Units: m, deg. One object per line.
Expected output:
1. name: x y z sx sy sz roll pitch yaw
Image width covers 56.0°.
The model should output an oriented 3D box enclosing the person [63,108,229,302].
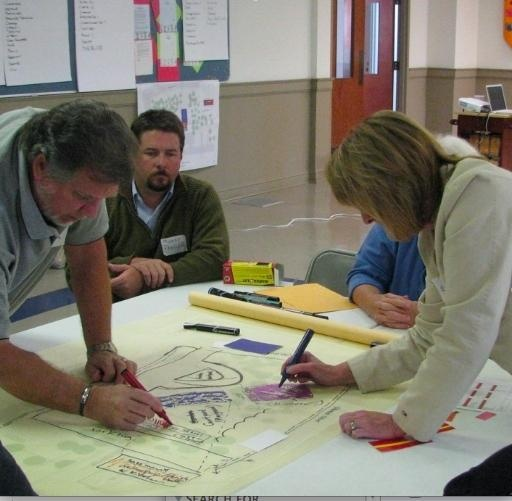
1. person: -0.439 -0.064 2.147 0.636 1.028 0.523 1 7 -4

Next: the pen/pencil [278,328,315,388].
1. pen/pencil: 0.104 0.284 1.251 0.020 0.140 0.022 41 -15 -36

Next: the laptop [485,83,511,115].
1. laptop: 3.304 -2.068 6.572 0.387 0.365 0.251 -7 13 -29

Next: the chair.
1. chair: 0.326 0.071 2.130 0.182 0.246 0.202 15 22 26

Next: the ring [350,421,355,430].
1. ring: 0.191 0.347 0.952 0.008 0.011 0.003 1 -4 -23
